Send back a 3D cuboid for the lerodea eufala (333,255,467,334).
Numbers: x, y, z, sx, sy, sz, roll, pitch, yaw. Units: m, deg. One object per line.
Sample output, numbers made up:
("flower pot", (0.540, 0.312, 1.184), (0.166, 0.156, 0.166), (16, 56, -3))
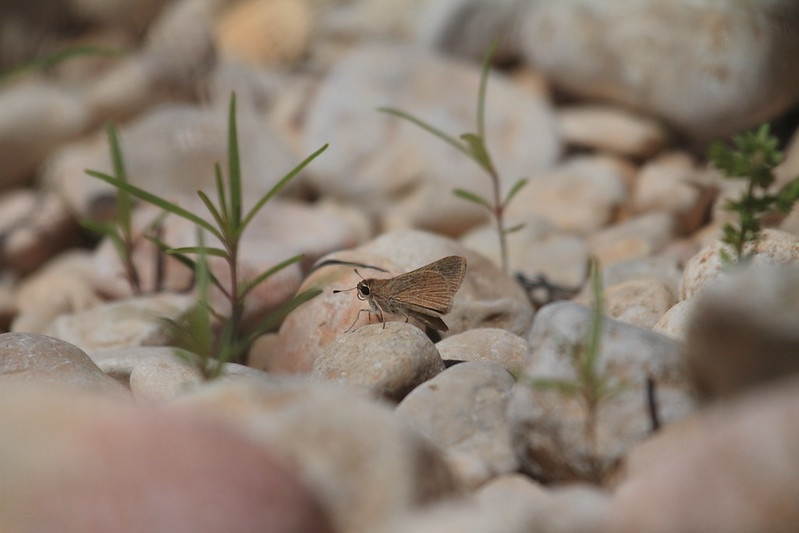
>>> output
("lerodea eufala", (0.000, 0.040, 1.594), (0.190, 0.076, 0.107), (0, 88, 12))
